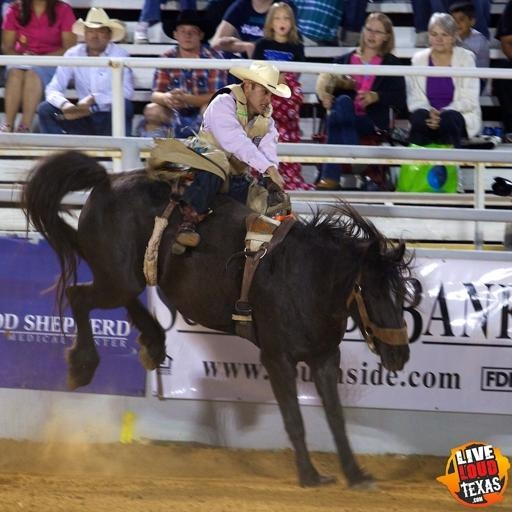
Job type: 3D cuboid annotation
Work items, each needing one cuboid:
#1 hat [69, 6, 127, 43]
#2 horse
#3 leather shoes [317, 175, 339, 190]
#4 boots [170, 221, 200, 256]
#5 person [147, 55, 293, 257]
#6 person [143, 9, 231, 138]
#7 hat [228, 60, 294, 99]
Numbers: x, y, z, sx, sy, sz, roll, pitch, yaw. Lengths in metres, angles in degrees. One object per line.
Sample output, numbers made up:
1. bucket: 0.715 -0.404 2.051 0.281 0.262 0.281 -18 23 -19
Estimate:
1. hat: -1.220 -1.813 7.564 0.307 0.122 0.342 0 -16 -3
2. horse: -0.257 0.329 5.921 2.836 1.646 0.681 17 20 31
3. leather shoes: 0.534 -0.530 7.078 0.151 0.089 0.080 -4 14 -4
4. boots: -0.401 -0.098 5.529 0.136 0.189 0.089 43 15 4
5. person: -0.209 -0.579 5.598 0.846 1.033 0.502 -3 23 -9
6. person: -0.541 -1.237 6.963 0.722 1.026 0.674 -5 12 -19
7. hat: 0.033 -1.022 5.536 0.287 0.100 0.240 20 -9 18
